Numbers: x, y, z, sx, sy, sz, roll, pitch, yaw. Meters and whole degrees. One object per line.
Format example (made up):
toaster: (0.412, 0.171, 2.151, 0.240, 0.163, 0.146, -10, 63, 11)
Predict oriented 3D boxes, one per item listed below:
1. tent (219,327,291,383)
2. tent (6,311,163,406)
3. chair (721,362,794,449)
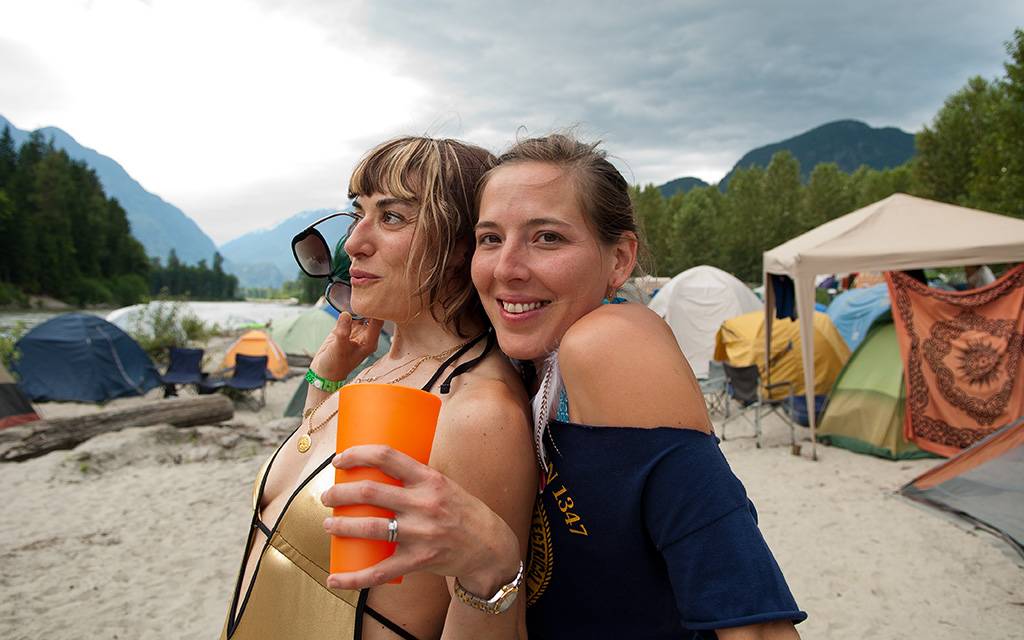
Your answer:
tent: (-7.953, 0.983, 22.920, 2.260, 1.255, 2.149, 1, 0, -36)
tent: (-11.047, 1.042, 19.257, 5.177, 2.651, 2.231, 0, -3, -21)
chair: (5.314, 1.923, 17.560, 1.811, 2.445, 1.801, 1, -3, -22)
